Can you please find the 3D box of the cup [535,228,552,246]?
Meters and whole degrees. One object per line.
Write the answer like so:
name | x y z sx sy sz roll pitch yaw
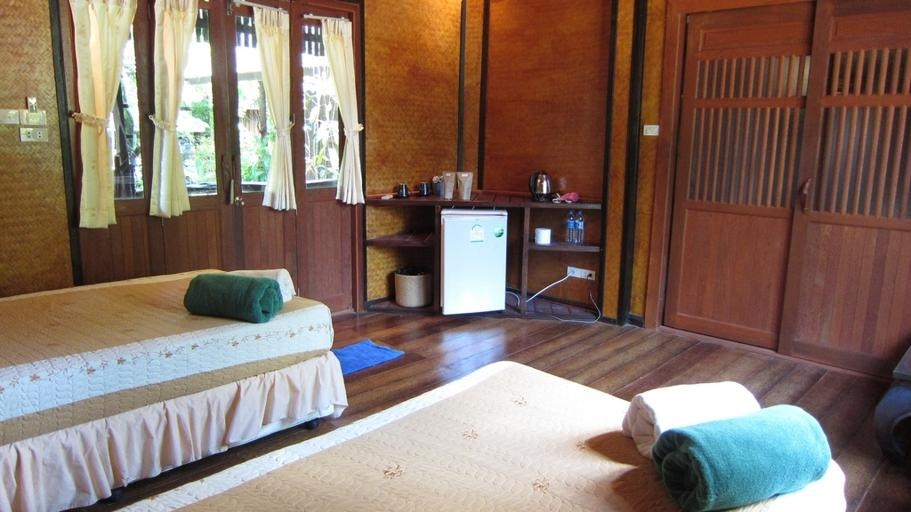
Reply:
cup | 0.920 -0.199 6.361 0.201 0.162 0.179 3 8 15

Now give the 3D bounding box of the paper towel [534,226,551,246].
paper towel | 0.948 -0.203 6.397 0.198 0.170 0.194 -2 9 -15

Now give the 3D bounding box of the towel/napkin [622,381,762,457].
towel/napkin | 1.364 0.876 3.531 0.618 0.200 0.429 -5 5 -25

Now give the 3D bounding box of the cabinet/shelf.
cabinet/shelf | 0.493 0.032 6.604 2.476 1.095 0.731 2 -3 25

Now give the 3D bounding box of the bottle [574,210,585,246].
bottle | 1.285 -0.305 6.436 0.136 0.323 0.170 6 14 24

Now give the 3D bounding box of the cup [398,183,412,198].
cup | -0.533 -0.698 6.488 0.142 0.138 0.157 -1 2 15

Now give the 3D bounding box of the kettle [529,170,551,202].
kettle | 0.900 -0.729 6.391 0.193 0.289 0.241 -3 13 -16

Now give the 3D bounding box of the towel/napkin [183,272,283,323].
towel/napkin | -1.570 0.289 4.336 0.582 0.222 0.336 3 0 13

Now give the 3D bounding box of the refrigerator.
refrigerator | -0.019 0.058 6.549 0.935 0.991 0.961 -1 6 -18

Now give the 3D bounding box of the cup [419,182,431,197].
cup | -0.358 -0.717 6.632 0.125 0.145 0.183 0 1 14
